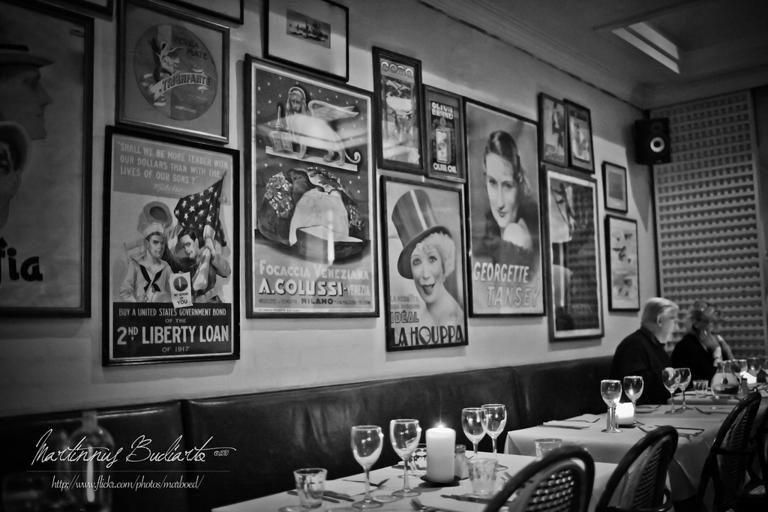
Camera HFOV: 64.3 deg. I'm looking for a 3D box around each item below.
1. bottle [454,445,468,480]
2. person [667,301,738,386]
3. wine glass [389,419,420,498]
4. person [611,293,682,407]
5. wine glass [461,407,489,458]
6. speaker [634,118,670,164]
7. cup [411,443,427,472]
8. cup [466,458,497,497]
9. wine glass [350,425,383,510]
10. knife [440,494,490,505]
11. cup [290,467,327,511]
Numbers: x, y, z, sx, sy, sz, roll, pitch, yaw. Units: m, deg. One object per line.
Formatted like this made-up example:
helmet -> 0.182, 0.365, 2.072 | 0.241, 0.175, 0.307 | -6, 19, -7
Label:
bottle -> 0.399, 1.058, 3.127 | 0.070, 0.147, 0.181 | -1, -7, 6
person -> 3.340, 1.037, 6.461 | 0.597, 1.074, 0.733 | 4, 12, 36
wine glass -> 0.112, 0.974, 3.037 | 0.133, 0.350, 0.407 | -1, -7, 2
person -> 2.463, 0.930, 5.628 | 0.591, 1.185, 0.825 | 10, 7, 29
wine glass -> 0.492, 0.948, 3.267 | 0.121, 0.278, 0.329 | -2, -7, 9
speaker -> 3.446, -1.513, 7.699 | 0.363, 0.560, 0.346 | -4, 29, 21
cup -> 0.201, 1.104, 3.354 | 0.113, 0.140, 0.114 | 1, -2, 0
cup -> 0.460, 1.022, 2.830 | 0.120, 0.172, 0.141 | -2, -7, 8
wine glass -> -0.075, 0.966, 2.880 | 0.131, 0.351, 0.335 | -1, -7, 0
knife -> 0.374, 1.110, 2.792 | 0.226, 0.017, 0.070 | -5, -8, 27
cup -> -0.316, 1.027, 2.731 | 0.159, 0.185, 0.169 | -2, -9, 0
